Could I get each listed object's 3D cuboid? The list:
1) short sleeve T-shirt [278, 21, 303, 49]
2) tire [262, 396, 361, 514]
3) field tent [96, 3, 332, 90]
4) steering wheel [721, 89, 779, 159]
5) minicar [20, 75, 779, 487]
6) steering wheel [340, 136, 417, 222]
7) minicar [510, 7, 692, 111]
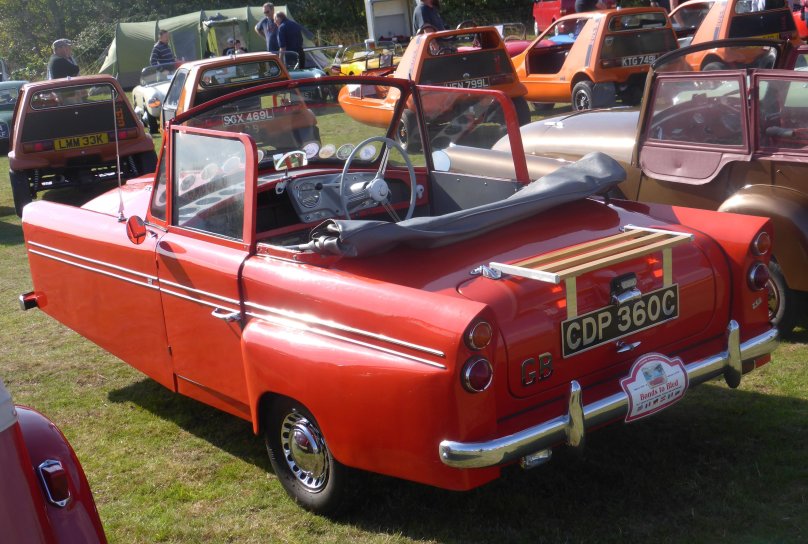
[{"bbox_3d":[-2.761,-5.700,15.507,0.621,0.603,0.343,-11,28,-20],"label":"short sleeve T-shirt"},{"bbox_3d":[-0.509,1.047,3.696,0.194,0.711,0.583,-18,26,-38],"label":"tire"},{"bbox_3d":[-7.188,-8.315,22.700,4.983,1.881,4.799,-22,25,-37],"label":"field tent"},{"bbox_3d":[2.910,-1.217,5.232,0.337,0.480,0.173,1,3,26],"label":"steering wheel"},{"bbox_3d":[-0.423,-0.120,4.386,4.113,1.783,2.694,16,26,37],"label":"minicar"},{"bbox_3d":[-0.198,-0.688,4.824,0.068,0.685,0.648,4,14,44],"label":"steering wheel"},{"bbox_3d":[3.776,-3.751,12.330,2.270,2.149,3.671,-18,29,-27],"label":"minicar"}]
